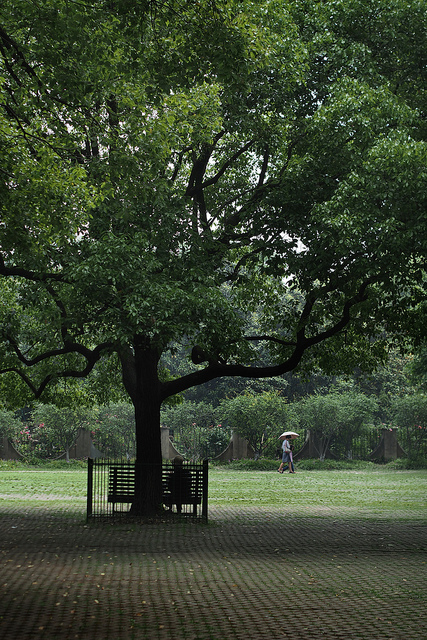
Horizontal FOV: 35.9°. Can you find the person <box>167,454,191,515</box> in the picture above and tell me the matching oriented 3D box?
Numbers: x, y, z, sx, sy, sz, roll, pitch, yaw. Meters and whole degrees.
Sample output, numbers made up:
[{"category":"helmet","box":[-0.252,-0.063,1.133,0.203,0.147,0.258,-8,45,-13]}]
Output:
[{"category":"person","box":[-0.688,3.310,12.846,0.479,0.914,0.245,-8,-9,43]}]

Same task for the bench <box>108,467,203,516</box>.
[{"category":"bench","box":[-1.085,3.340,12.887,1.854,0.893,0.398,-3,-7,12]}]
